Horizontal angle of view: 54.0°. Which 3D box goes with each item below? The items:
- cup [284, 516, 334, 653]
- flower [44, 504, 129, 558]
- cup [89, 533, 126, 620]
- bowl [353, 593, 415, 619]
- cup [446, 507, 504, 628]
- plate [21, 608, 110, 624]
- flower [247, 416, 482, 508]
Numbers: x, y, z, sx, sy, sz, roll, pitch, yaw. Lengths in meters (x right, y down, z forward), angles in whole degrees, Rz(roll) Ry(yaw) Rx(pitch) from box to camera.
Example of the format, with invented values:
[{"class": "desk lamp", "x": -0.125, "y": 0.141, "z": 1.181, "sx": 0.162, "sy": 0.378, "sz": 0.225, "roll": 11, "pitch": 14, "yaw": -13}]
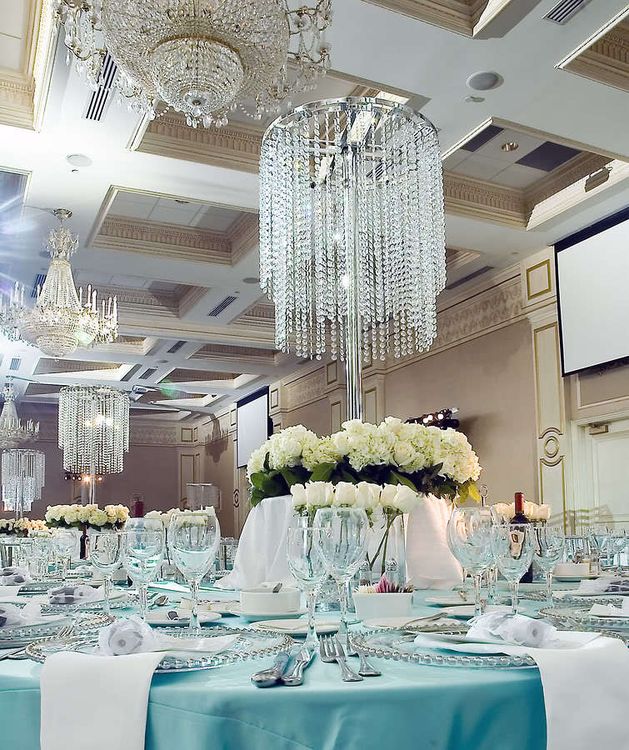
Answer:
[{"class": "cup", "x": -0.006, "y": 0.325, "z": 0.947, "sx": 0.066, "sy": 0.169, "sz": 0.065, "roll": -2, "pitch": -14, "yaw": -1}, {"class": "flower", "x": -1.463, "y": 1.039, "z": 3.971, "sx": 0.433, "sy": 0.438, "sz": 0.425, "roll": -2, "pitch": -7, "yaw": -3}, {"class": "cup", "x": -0.441, "y": 0.423, "z": 1.306, "sx": 0.071, "sy": 0.166, "sz": 0.066, "roll": -3, "pitch": -17, "yaw": -1}, {"class": "bowl", "x": 0.144, "y": 0.472, "z": 1.266, "sx": 0.095, "sy": 0.036, "sz": 0.060, "roll": 0, "pitch": -7, "yaw": -3}, {"class": "cup", "x": 0.307, "y": 0.364, "z": 1.176, "sx": 0.100, "sy": 0.219, "sz": 0.090, "roll": -6, "pitch": -4, "yaw": 2}, {"class": "plate", "x": -0.512, "y": 0.490, "z": 1.256, "sx": 0.119, "sy": 0.005, "sz": 0.129, "roll": -1, "pitch": -5, "yaw": 0}, {"class": "flower", "x": 0.201, "y": 0.254, "z": 1.866, "sx": 0.422, "sy": 0.162, "sz": 0.404, "roll": 3, "pitch": -8, "yaw": -31}]
